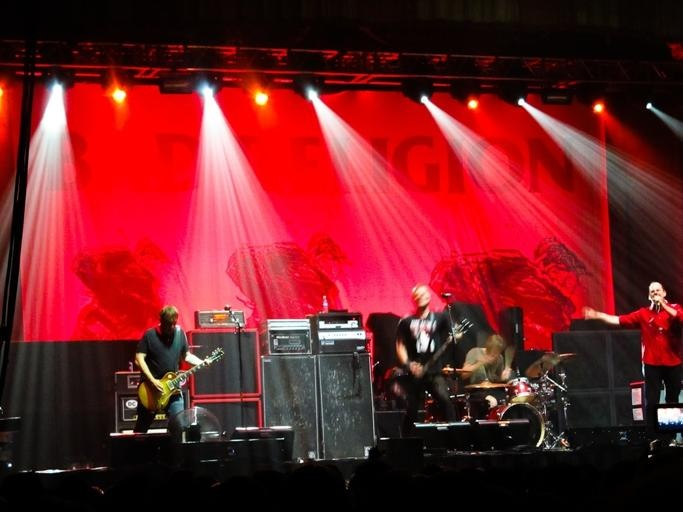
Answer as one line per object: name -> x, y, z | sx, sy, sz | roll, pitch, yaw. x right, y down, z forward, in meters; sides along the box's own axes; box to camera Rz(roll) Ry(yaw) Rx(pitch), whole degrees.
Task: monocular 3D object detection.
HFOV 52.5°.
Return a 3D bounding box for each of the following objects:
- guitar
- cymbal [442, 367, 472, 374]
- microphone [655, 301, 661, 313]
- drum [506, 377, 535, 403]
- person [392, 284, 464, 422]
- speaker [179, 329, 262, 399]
guitar -> -1.743, 1.350, 7.486 | 0.892, 0.314, 0.129 | -34, 2, -32
cymbal -> 1.433, 1.430, 8.629 | 0.254, 0.061, 0.252 | 6, -14, -17
microphone -> 3.775, 0.609, 8.236 | 0.082, 0.111, 0.029 | 1, 2, -21
drum -> 2.208, 1.688, 8.547 | 0.263, 0.246, 0.266 | 2, -42, -1
person -> 0.911, 1.068, 7.393 | 0.608, 1.524, 0.435 | -5, -19, 5
speaker -> -1.427, 1.353, 8.720 | 1.228, 1.205, 0.683 | 0, -9, -12
